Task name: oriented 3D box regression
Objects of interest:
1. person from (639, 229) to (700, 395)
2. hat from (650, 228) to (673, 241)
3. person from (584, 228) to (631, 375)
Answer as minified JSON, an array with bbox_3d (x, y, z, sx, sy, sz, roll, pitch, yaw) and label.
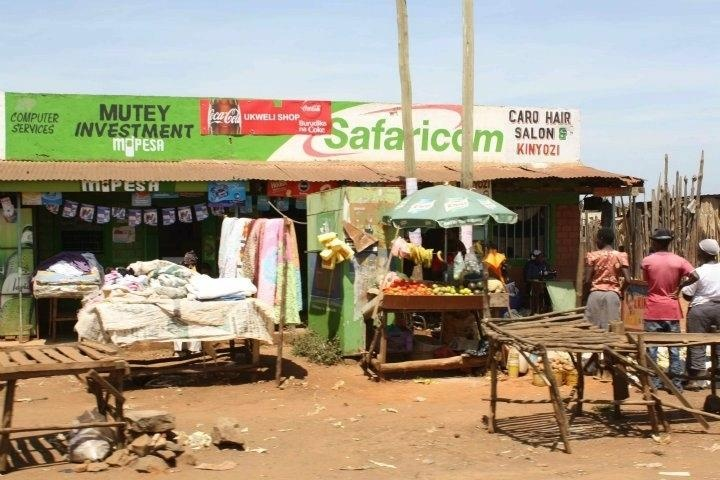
[{"bbox_3d":[4.845,1.118,11.936,0.748,2.609,0.931,3,9,18],"label":"person"},{"bbox_3d":[4.790,-0.098,11.959,0.329,0.103,0.324,1,3,11],"label":"hat"},{"bbox_3d":[4.052,0.600,12.344,0.680,1.602,1.596,3,8,19],"label":"person"}]
